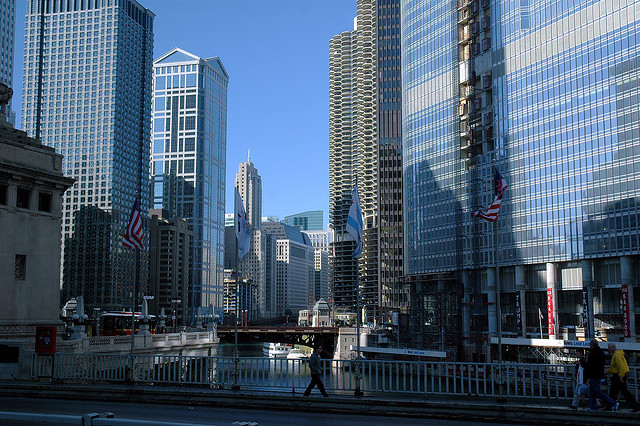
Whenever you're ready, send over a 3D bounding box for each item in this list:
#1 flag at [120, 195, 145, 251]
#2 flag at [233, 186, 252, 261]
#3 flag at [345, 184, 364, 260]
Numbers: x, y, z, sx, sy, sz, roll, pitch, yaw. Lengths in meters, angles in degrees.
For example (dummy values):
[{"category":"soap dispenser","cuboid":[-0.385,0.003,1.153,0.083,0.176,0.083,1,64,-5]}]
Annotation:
[{"category":"flag","cuboid":[-23.754,1.157,116.577,2.825,7.220,0.938,6,6,9]},{"category":"flag","cuboid":[-9.625,1.738,113.083,1.817,8.152,2.259,0,2,2]},{"category":"flag","cuboid":[4.352,1.080,112.212,2.566,8.652,2.107,1,-1,0]}]
